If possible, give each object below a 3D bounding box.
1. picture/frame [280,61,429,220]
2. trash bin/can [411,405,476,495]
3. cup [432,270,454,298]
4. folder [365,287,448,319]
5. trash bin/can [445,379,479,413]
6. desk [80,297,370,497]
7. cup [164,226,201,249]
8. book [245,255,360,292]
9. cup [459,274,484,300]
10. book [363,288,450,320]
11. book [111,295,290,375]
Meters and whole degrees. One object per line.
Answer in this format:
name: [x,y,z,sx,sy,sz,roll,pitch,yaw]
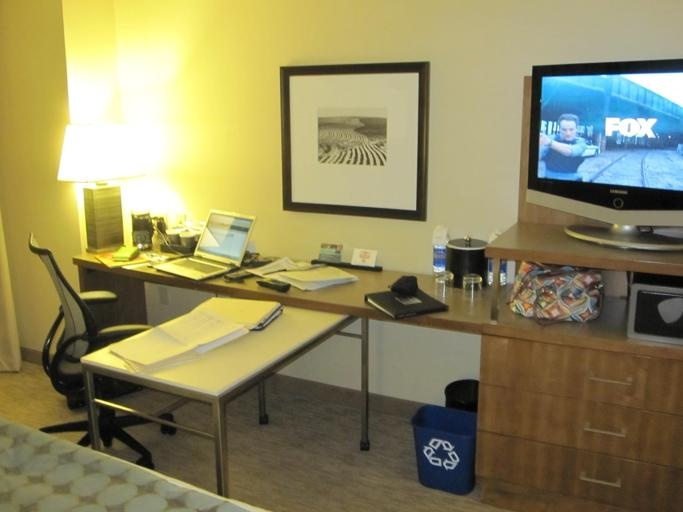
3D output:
picture/frame: [0.111,-0.732,3.401,1.007,0.921,0.069,4,13,21]
trash bin/can: [0.539,1.030,2.933,0.362,0.367,0.223,4,11,29]
cup: [0.564,0.156,3.159,0.138,0.128,0.107,12,16,41]
folder: [0.309,0.233,2.810,0.204,0.039,0.188,-10,20,-24]
trash bin/can: [0.695,0.815,3.250,0.161,0.179,0.193,7,17,22]
desk: [-0.567,0.607,2.674,0.759,0.564,0.970,7,12,30]
cup: [-1.084,-0.147,3.826,0.185,0.129,0.181,3,9,0]
book: [-0.251,0.105,3.259,0.363,0.050,0.270,13,19,42]
cup: [0.690,0.169,3.004,0.120,0.124,0.118,0,4,0]
book: [0.313,0.234,2.809,0.206,0.040,0.190,-11,21,-24]
book: [-0.692,0.357,2.584,0.319,0.083,0.503,9,19,28]
